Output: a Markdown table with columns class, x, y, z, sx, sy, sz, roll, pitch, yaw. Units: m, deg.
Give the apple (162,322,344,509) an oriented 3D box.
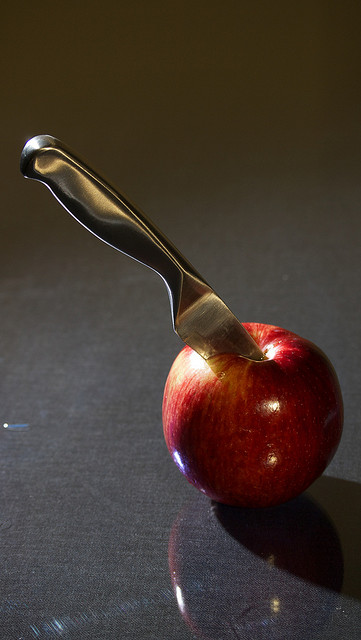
| class | x | y | z | sx | sy | sz | roll | pitch | yaw |
| --- | --- | --- | --- | --- | --- | --- | --- | --- | --- |
| apple | 0.052 | 0.071 | 0.437 | 0.127 | 0.116 | 0.122 | -9 | 21 | -19 |
